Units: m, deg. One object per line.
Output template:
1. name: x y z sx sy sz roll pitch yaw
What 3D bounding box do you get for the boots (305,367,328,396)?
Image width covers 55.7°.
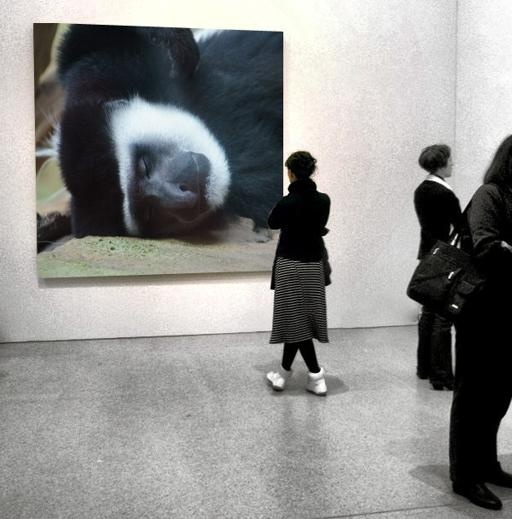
1. boots: 0.435 0.844 3.378 0.091 0.145 0.209 -2 9 -9

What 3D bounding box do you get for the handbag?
1. handbag: 0.709 0.067 1.930 0.264 0.296 0.242 6 15 7

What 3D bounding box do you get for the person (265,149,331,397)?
1. person: 0.299 0.095 3.346 0.409 1.670 0.373 0 3 9

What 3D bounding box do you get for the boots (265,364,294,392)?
1. boots: 0.169 0.837 3.486 0.110 0.153 0.225 20 10 -18

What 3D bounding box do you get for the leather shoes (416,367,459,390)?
1. leather shoes: 1.305 0.836 3.461 0.238 0.074 0.165 3 1 15
